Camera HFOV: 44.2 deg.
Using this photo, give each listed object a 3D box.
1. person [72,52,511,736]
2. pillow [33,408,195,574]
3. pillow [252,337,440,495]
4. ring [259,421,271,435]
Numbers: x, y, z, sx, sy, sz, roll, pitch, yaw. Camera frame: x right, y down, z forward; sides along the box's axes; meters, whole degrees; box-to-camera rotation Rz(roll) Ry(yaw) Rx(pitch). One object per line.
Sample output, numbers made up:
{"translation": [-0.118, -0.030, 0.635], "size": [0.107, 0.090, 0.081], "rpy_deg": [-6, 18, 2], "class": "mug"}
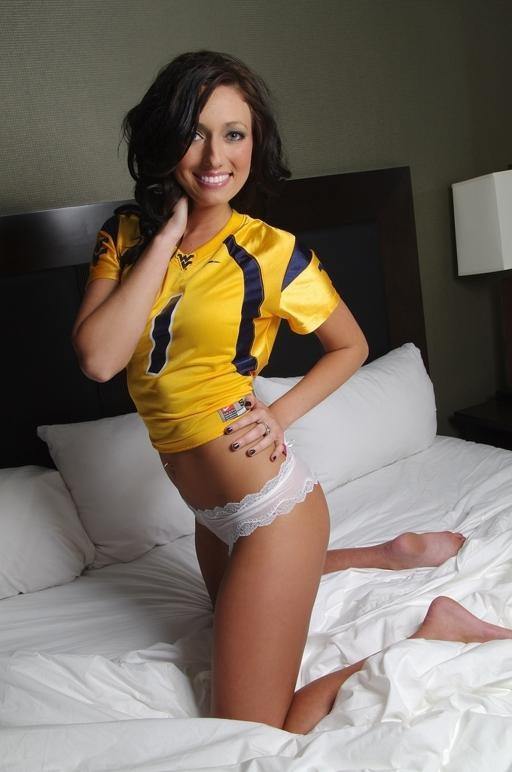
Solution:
{"translation": [-0.063, -0.022, 1.204], "size": [0.513, 1.153, 0.475], "rpy_deg": [-1, 5, 9], "class": "person"}
{"translation": [-0.466, 0.327, 1.965], "size": [0.450, 0.418, 0.130], "rpy_deg": [-25, -9, -46], "class": "pillow"}
{"translation": [0.345, 0.165, 2.382], "size": [0.559, 0.468, 0.163], "rpy_deg": [-27, -7, -41], "class": "pillow"}
{"translation": [0.015, 0.079, 1.145], "size": [0.011, 0.019, 0.017], "rpy_deg": [-5, -1, -32], "class": "ring"}
